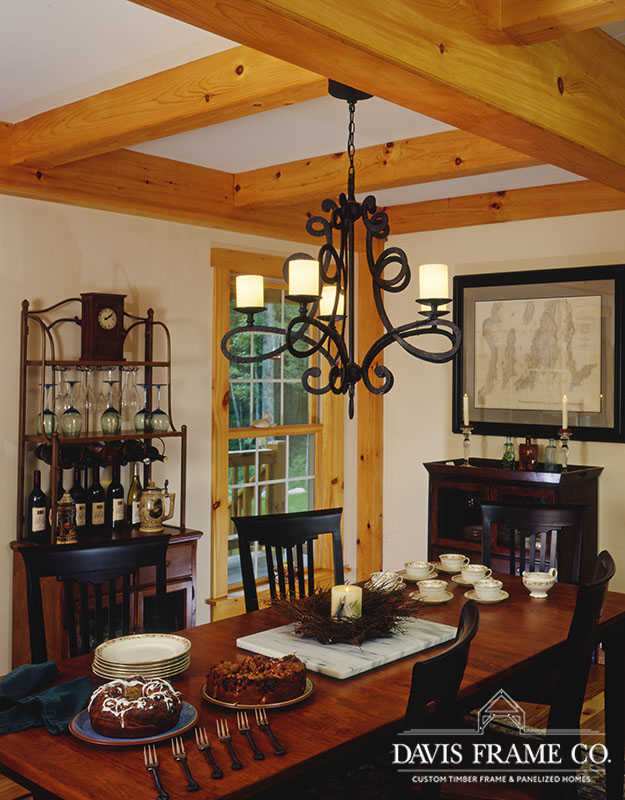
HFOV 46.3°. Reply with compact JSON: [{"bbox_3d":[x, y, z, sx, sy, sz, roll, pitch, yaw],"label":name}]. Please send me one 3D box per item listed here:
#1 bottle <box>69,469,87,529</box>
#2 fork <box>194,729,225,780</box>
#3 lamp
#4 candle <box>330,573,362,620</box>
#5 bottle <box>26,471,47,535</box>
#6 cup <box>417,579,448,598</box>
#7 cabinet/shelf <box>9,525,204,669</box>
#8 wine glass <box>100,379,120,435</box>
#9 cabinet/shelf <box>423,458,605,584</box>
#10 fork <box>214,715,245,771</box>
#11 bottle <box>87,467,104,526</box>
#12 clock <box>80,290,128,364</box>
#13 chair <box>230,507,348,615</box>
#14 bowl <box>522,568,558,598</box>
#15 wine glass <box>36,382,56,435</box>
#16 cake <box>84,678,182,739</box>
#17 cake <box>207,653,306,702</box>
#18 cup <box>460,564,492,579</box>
[{"bbox_3d":[-1.076,0.456,3.374,0.070,0.269,0.217,-2,-1,-13],"label":"bottle"},{"bbox_3d":[-0.188,0.636,1.316,0.022,0.019,0.136,-12,13,-19],"label":"fork"},{"bbox_3d":[0.103,-0.509,2.279,0.788,0.907,0.759,1,1,17],"label":"lamp"},{"bbox_3d":[0.096,0.562,2.043,0.091,0.081,0.088,0,-1,6],"label":"candle"},{"bbox_3d":[-1.225,0.458,3.254,0.084,0.281,0.139,-2,-1,-21],"label":"bottle"},{"bbox_3d":[0.405,0.628,2.458,0.073,0.041,0.070,0,-8,0],"label":"cup"},{"bbox_3d":[-0.898,0.871,3.390,0.900,0.794,0.360,-7,17,-39],"label":"cabinet/shelf"},{"bbox_3d":[-0.947,0.034,3.409,0.113,0.257,0.108,1,-1,9],"label":"wine glass"},{"bbox_3d":[1.058,0.610,3.703,0.270,0.619,0.681,5,-6,-43],"label":"cabinet/shelf"},{"bbox_3d":[-0.155,0.637,1.352,0.025,0.021,0.148,1,8,-20],"label":"fork"},{"bbox_3d":[-1.006,0.457,3.416,0.059,0.273,0.100,-3,-1,16],"label":"bottle"},{"bbox_3d":[-1.000,-0.330,3.445,0.138,0.335,0.207,3,2,39],"label":"clock"},{"bbox_3d":[-0.070,0.717,2.928,0.379,0.487,0.390,-7,2,28],"label":"chair"},{"bbox_3d":[0.809,0.651,2.600,0.098,0.087,0.104,0,0,0],"label":"bowl"},{"bbox_3d":[-1.189,0.038,3.267,0.075,0.234,0.201,-2,-1,-20],"label":"wine glass"},{"bbox_3d":[-0.336,0.576,1.403,0.113,0.041,0.105,2,-2,6],"label":"cake"},{"bbox_3d":[-0.121,0.618,1.626,0.211,0.062,0.207,-4,-6,-6],"label":"cake"},{"bbox_3d":[0.607,0.639,2.714,0.123,0.059,0.136,0,-8,1],"label":"cup"}]
